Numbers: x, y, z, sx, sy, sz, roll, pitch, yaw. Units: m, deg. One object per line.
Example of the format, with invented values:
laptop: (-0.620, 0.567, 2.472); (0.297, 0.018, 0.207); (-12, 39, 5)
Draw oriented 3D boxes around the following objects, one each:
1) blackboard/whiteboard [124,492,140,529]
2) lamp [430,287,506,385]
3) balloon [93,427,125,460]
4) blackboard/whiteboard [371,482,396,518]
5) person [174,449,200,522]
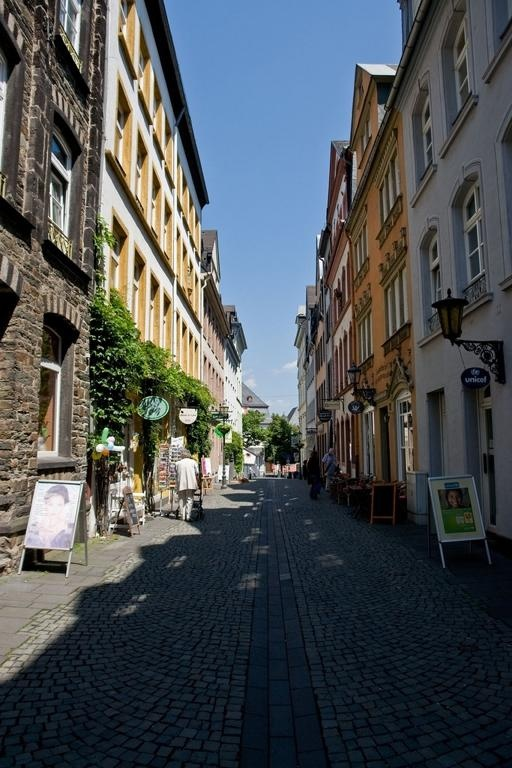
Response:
blackboard/whiteboard: (-2.502, 2.589, 9.978); (0.042, 0.828, 0.627); (-13, -20, 1)
lamp: (3.124, -0.685, 7.680); (0.963, 1.493, 1.246); (1, -8, -4)
balloon: (-2.783, 1.155, 9.186); (0.280, 0.329, 0.584); (2, 3, -1)
blackboard/whiteboard: (2.856, 2.682, 11.128); (0.547, 0.869, 0.416); (-4, -9, 27)
person: (-1.755, 2.576, 12.572); (0.536, 1.775, 0.908); (2, -8, -10)
